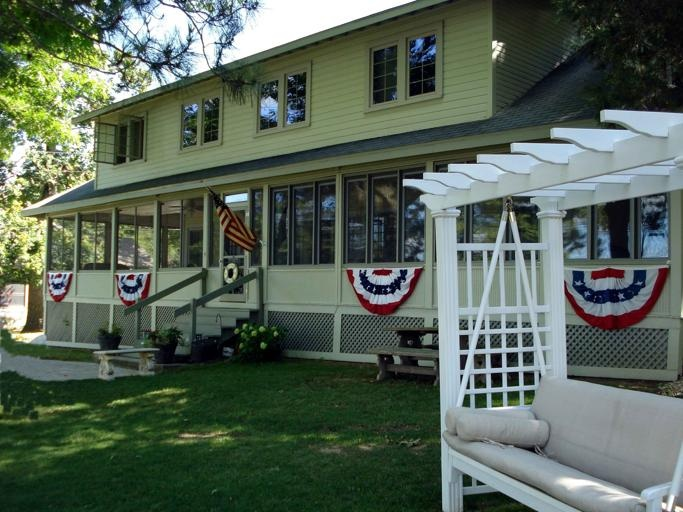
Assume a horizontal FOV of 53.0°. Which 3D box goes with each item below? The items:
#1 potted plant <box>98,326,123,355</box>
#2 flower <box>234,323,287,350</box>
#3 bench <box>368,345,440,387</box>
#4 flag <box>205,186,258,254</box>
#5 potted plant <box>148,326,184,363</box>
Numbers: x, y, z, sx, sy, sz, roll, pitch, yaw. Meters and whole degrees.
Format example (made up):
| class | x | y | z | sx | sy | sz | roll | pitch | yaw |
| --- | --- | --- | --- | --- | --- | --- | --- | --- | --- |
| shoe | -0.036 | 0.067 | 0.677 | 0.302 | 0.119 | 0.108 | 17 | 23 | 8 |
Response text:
| class | x | y | z | sx | sy | sz | roll | pitch | yaw |
| --- | --- | --- | --- | --- | --- | --- | --- | --- | --- |
| potted plant | -6.013 | 2.199 | 17.770 | 0.799 | 0.532 | 0.751 | 2 | -10 | -13 |
| flower | -1.789 | 1.765 | 14.936 | 0.718 | 0.396 | 0.647 | 3 | 2 | -9 |
| bench | 1.121 | 1.917 | 12.266 | 1.129 | 0.581 | 2.443 | -1 | -3 | 6 |
| flag | -2.641 | -0.867 | 16.782 | 0.864 | 0.311 | 2.200 | 44 | -2 | 44 |
| potted plant | -3.719 | 1.980 | 15.192 | 0.882 | 0.815 | 0.721 | -9 | -14 | 41 |
